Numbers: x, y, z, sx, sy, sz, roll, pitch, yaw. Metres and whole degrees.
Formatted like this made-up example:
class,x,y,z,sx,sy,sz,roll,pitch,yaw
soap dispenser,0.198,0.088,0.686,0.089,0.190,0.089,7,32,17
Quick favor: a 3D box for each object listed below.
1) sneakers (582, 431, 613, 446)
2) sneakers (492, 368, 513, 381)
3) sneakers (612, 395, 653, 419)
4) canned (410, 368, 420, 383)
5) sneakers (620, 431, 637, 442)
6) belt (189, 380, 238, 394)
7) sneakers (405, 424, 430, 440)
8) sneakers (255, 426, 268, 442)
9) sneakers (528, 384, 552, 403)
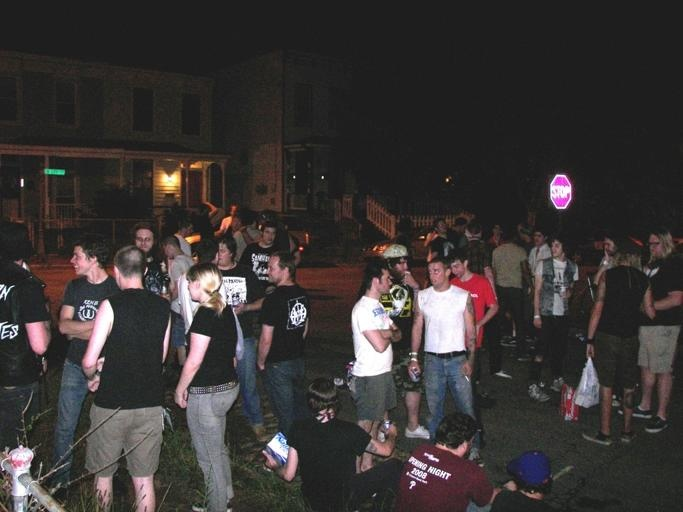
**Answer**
class,x,y,z,sx,sy,sz,roll,pitch,yaw
sneakers,3.327,2.360,7.683,0.325,0.133,0.152,8,7,28
sneakers,2.736,2.006,10.005,0.151,0.125,0.243,5,8,-29
sneakers,4.179,2.169,8.455,0.632,0.256,0.237,11,-1,-8
canned,0.929,1.496,7.403,0.144,0.181,0.184,-2,3,16
sneakers,3.748,2.351,7.732,0.136,0.143,0.132,2,26,-5
belt,-1.305,1.331,5.988,0.450,0.096,0.096,-3,10,-17
sneakers,1.003,2.335,7.840,0.324,0.143,0.155,0,-2,2
sneakers,-1.073,2.296,7.801,0.163,0.176,0.393,-2,10,-7
sneakers,3.019,2.094,9.034,0.154,0.190,0.395,-24,5,-22
